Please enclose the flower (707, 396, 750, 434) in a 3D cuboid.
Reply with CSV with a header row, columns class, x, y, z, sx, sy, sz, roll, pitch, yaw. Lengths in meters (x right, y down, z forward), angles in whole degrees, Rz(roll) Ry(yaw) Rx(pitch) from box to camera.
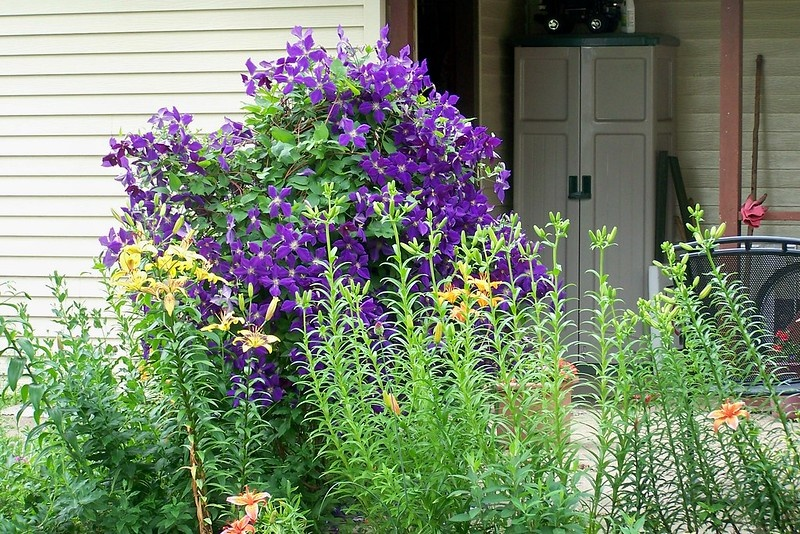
class,x,y,z,sx,sy,sz,roll,pitch,yaw
flower,1.141,0.537,2.874,0.127,0.055,0.132,-26,33,7
